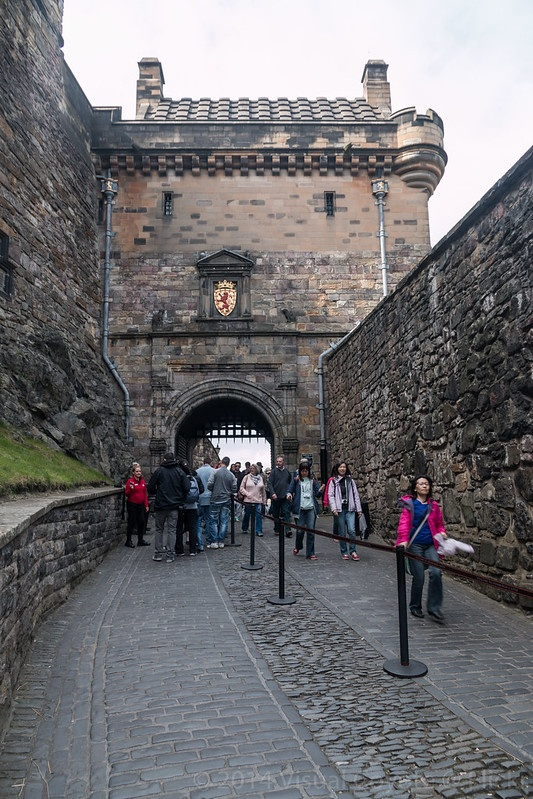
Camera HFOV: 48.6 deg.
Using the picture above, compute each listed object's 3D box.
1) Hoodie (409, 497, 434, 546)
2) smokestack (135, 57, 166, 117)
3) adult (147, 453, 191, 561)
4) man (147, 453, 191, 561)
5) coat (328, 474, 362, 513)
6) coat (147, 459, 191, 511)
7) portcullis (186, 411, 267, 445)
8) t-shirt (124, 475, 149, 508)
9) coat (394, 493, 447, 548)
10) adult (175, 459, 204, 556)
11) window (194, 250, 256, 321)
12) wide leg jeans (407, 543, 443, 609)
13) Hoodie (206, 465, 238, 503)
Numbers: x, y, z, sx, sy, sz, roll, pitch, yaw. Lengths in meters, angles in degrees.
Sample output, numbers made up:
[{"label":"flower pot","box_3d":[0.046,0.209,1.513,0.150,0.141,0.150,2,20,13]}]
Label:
[{"label":"Hoodie","box_3d":[1.292,1.045,4.955,0.196,0.302,0.300,1,-13,2]},{"label":"smokestack","box_3d":[-3.552,-9.169,18.279,0.719,2.366,1.330,-2,-17,-2]},{"label":"adult","box_3d":[-1.402,1.473,8.233,0.608,1.455,0.591,-5,-8,40]},{"label":"man","box_3d":[-1.359,1.467,8.191,0.579,1.455,0.594,1,-6,-11]},{"label":"coat","box_3d":[1.085,1.316,8.229,0.481,0.527,0.191,2,-6,-20]},{"label":"coat","box_3d":[-1.287,1.258,8.308,0.645,0.939,0.564,1,-12,-8]},{"label":"portcullis","box_3d":[-1.051,0.659,15.666,2.061,0.043,1.567,0,35,3]},{"label":"t-shirt","box_3d":[-2.086,1.493,9.508,0.352,0.510,0.385,1,-6,-14]},{"label":"coat","box_3d":[1.314,1.050,5.030,0.366,0.474,0.259,-2,-12,1]},{"label":"adult","box_3d":[-1.183,1.509,8.722,0.490,1.511,0.529,0,14,-10]},{"label":"window","box_3d":[-1.070,-2.954,15.428,1.505,2.066,0.253,-1,-23,-3]},{"label":"wide leg jeans","box_3d":[1.307,1.496,4.897,0.247,0.568,0.662,-2,-6,14]},{"label":"Hoodie","box_3d":[-0.684,1.311,9.355,0.525,0.781,0.429,1,-8,-2]}]
